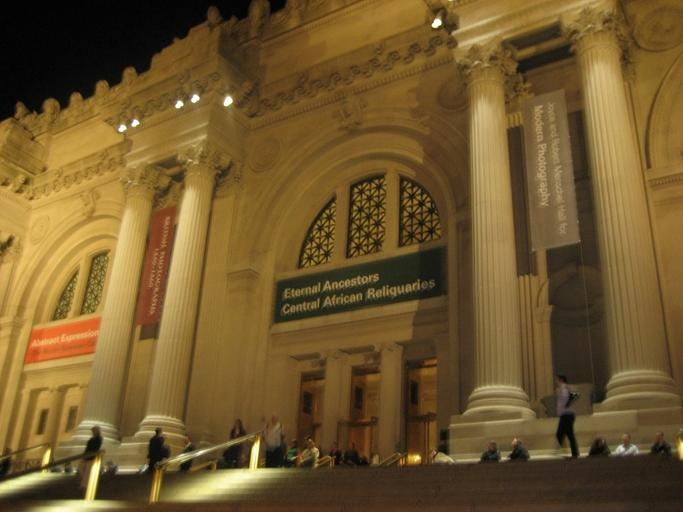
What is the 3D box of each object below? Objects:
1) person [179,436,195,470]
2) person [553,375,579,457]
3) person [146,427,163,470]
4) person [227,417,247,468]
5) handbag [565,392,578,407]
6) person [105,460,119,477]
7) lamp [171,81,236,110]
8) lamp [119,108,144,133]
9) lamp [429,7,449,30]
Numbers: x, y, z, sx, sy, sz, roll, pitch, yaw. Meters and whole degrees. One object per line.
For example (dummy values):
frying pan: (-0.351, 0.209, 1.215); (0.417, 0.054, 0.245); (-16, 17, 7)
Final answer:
person: (-4.299, 5.565, 16.610); (0.366, 1.003, 2.174); (7, -24, -12)
person: (4.246, 3.035, 11.192); (0.460, 1.557, 1.138); (-6, -25, 18)
person: (-4.881, 5.057, 15.576); (0.355, 1.177, 1.272); (9, -25, -16)
person: (-2.968, 5.154, 16.423); (0.510, 1.467, 1.773); (6, -24, -9)
handbag: (4.288, 2.694, 11.083); (0.106, 0.315, 0.281); (20, 4, 32)
person: (-5.783, 5.343, 14.820); (0.298, 0.374, 0.873); (10, -25, -19)
lamp: (-4.908, -5.450, 20.670); (2.158, 0.973, 1.074); (2, -23, -1)
lamp: (-7.894, -5.085, 22.136); (0.954, 0.888, 0.236); (8, 3, 33)
lamp: (2.918, -7.140, 17.746); (0.344, 1.159, 0.343); (-31, -67, 27)
